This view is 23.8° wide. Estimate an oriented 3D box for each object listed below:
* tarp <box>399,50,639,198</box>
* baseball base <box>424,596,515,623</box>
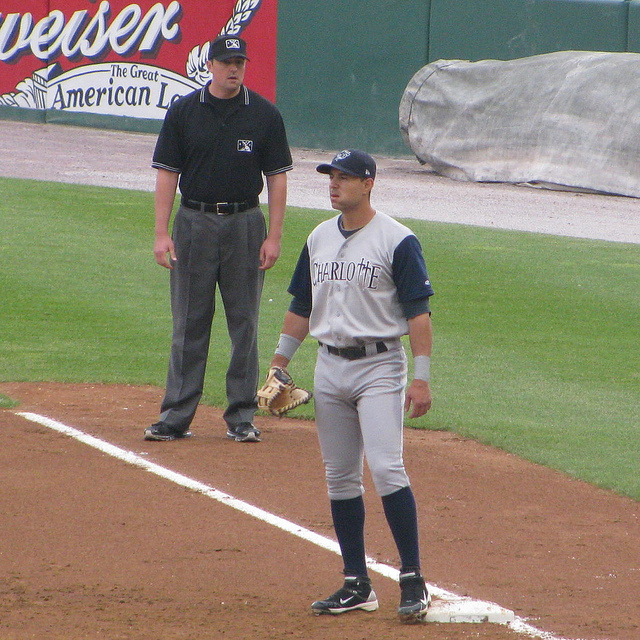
[{"bbox_3d":[3.418,-3.190,24.432,1.075,2.104,4.339,-1,9,-40],"label":"tarp"},{"bbox_3d":[0.904,1.806,9.393,0.559,0.095,0.265,4,7,-5],"label":"baseball base"}]
